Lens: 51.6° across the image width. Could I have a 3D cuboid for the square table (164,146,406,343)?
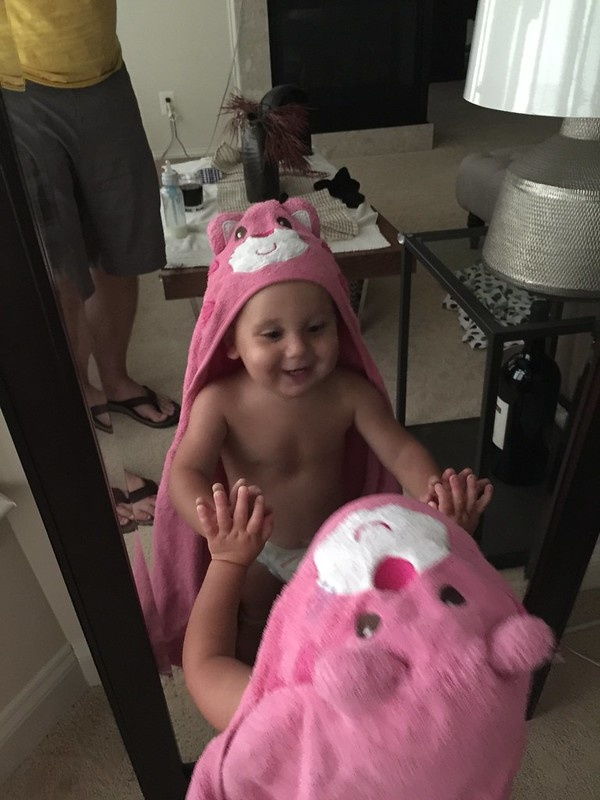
[{"bbox_3d":[-0.013,-0.221,1.308,0.398,0.200,0.562,-2,56,-1],"label":"square table"}]
